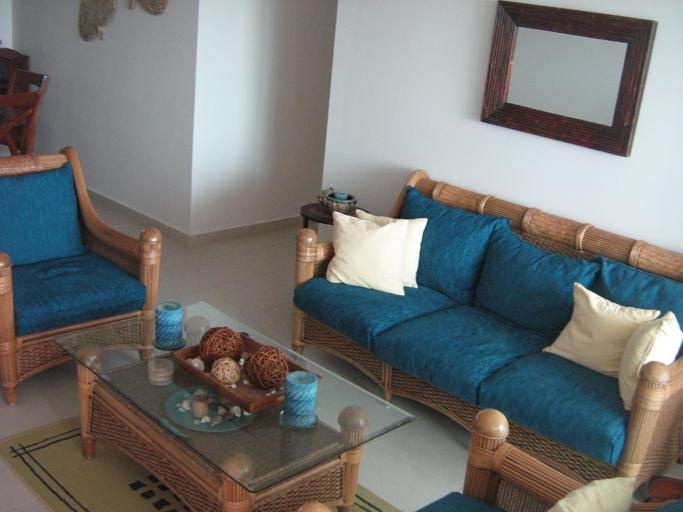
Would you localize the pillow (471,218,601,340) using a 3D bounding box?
[{"bbox_3d":[1.132,0.145,3.097,0.602,0.447,0.217,22,22,39],"label":"pillow"}]

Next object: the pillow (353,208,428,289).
[{"bbox_3d":[0.307,-0.023,3.375,0.470,0.427,0.165,14,10,42],"label":"pillow"}]

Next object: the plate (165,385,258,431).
[{"bbox_3d":[-0.561,0.622,2.192,0.380,0.046,0.209,15,22,28],"label":"plate"}]

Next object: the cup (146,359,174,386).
[{"bbox_3d":[-0.795,0.502,2.395,0.109,0.073,0.104,2,10,0],"label":"cup"}]

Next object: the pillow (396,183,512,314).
[{"bbox_3d":[0.706,0.028,3.553,0.294,0.506,0.640,-14,14,-23],"label":"pillow"}]

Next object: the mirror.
[{"bbox_3d":[1.348,-1.028,3.154,0.959,0.691,0.067,21,21,32],"label":"mirror"}]

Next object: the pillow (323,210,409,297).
[{"bbox_3d":[0.159,0.006,3.359,0.505,0.456,0.197,10,-4,14],"label":"pillow"}]

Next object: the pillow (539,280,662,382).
[{"bbox_3d":[1.316,0.404,2.763,0.223,0.317,0.438,-16,24,-27],"label":"pillow"}]
